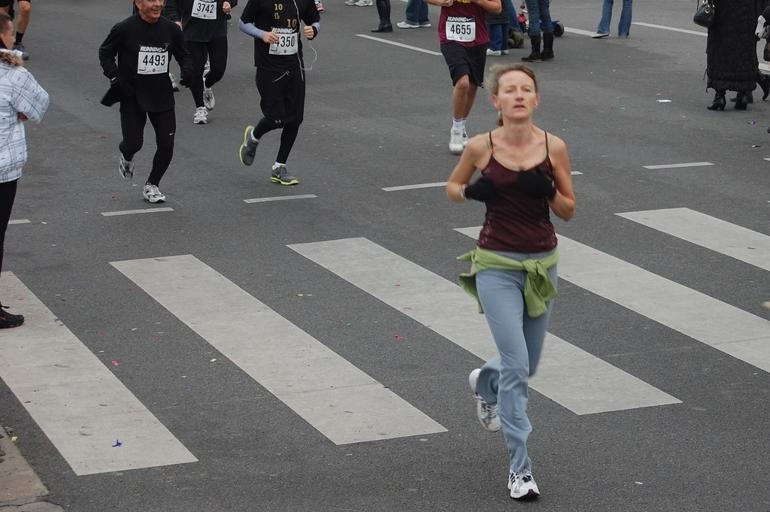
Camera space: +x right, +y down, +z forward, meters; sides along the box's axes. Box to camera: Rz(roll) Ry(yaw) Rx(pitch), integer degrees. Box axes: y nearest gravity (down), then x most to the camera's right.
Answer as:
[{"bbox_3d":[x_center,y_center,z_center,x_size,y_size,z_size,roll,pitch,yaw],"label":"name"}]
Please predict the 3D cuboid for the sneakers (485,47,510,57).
[{"bbox_3d":[2.548,-4.679,19.109,0.680,0.241,0.229,-2,26,-5],"label":"sneakers"}]

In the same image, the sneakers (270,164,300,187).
[{"bbox_3d":[-1.319,-1.010,10.553,0.470,0.199,0.188,15,22,41],"label":"sneakers"}]

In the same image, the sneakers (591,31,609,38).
[{"bbox_3d":[5.468,-5.634,21.158,0.492,0.170,0.165,2,9,-1],"label":"sneakers"}]

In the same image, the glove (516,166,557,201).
[{"bbox_3d":[0.855,-0.397,4.657,0.242,0.172,0.162,0,18,-11],"label":"glove"}]

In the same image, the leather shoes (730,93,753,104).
[{"bbox_3d":[6.381,-2.825,14.886,0.195,0.206,0.547,-5,13,-21],"label":"leather shoes"}]

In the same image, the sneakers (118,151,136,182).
[{"bbox_3d":[-3.161,-1.080,10.049,0.140,0.365,0.284,-2,19,-20],"label":"sneakers"}]

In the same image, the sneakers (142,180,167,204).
[{"bbox_3d":[-2.767,-0.761,9.875,0.254,0.229,0.269,-1,18,-15],"label":"sneakers"}]

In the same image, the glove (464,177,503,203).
[{"bbox_3d":[0.547,-0.375,4.716,0.179,0.128,0.081,-28,13,30],"label":"glove"}]

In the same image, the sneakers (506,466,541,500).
[{"bbox_3d":[0.774,1.296,4.692,0.110,0.100,0.240,-3,3,-14],"label":"sneakers"}]

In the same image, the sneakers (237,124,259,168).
[{"bbox_3d":[-1.747,-1.409,10.936,0.252,0.634,0.305,0,11,-28],"label":"sneakers"}]

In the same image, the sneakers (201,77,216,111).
[{"bbox_3d":[-3.142,-2.781,14.342,0.228,0.584,0.273,-19,11,-11],"label":"sneakers"}]
